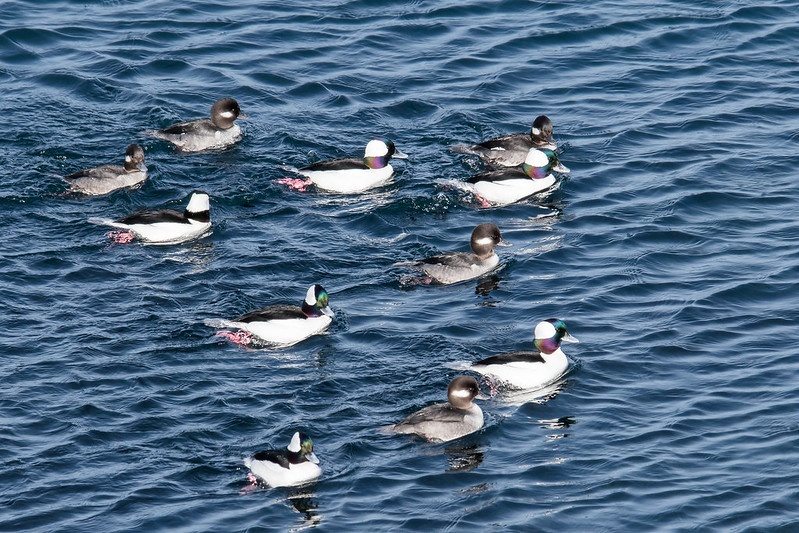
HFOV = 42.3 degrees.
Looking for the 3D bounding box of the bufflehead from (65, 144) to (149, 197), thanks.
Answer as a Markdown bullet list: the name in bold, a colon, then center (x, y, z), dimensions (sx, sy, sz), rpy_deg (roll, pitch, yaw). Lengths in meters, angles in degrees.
- **bufflehead**: center (-8.386, -2.646, 30.082), dimensions (2.238, 0.827, 1.116), rpy_deg (-34, 81, -14)
